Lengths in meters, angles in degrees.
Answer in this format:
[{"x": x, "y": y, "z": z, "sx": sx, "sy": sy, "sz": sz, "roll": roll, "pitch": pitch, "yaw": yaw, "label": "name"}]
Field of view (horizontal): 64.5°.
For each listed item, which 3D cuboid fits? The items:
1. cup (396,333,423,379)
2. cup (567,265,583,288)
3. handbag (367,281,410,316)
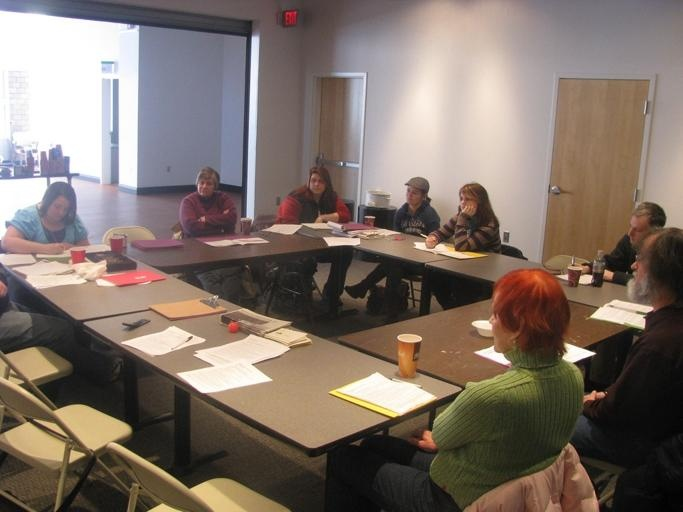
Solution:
[{"x": 0.285, "y": 0.457, "z": 2.482, "sx": 0.169, "sy": 0.211, "sz": 0.159, "roll": 2, "pitch": 5, "yaw": 0, "label": "cup"}, {"x": 1.645, "y": 0.156, "z": 3.905, "sx": 0.139, "sy": 0.148, "sz": 0.134, "roll": 1, "pitch": 4, "yaw": 0, "label": "cup"}, {"x": 0.495, "y": 0.420, "z": 5.584, "sx": 0.409, "sy": 0.368, "sz": 0.324, "roll": 1, "pitch": 6, "yaw": -25, "label": "handbag"}]
